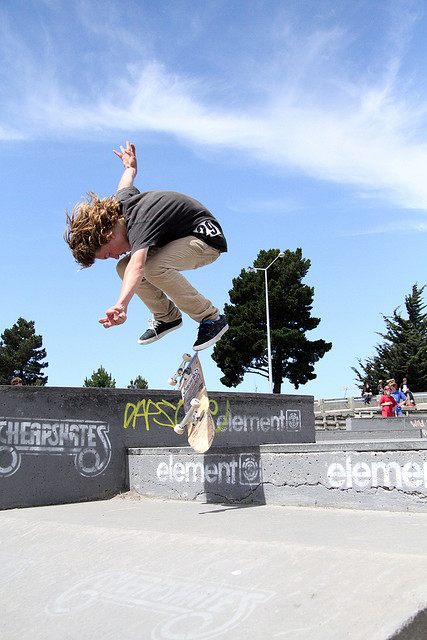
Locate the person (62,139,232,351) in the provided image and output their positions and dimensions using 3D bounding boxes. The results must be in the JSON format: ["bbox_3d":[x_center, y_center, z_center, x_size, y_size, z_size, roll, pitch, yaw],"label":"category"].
[{"bbox_3d":[-0.512,-0.587,4.436,1.112,1.597,1.517,-13,15,-21],"label":"person"}]

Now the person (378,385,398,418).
[{"bbox_3d":[4.852,2.294,15.923,0.392,0.906,1.977,-7,-5,16],"label":"person"}]

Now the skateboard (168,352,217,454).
[{"bbox_3d":[-0.148,0.693,4.763,0.185,1.222,0.314,19,-54,-31],"label":"skateboard"}]
